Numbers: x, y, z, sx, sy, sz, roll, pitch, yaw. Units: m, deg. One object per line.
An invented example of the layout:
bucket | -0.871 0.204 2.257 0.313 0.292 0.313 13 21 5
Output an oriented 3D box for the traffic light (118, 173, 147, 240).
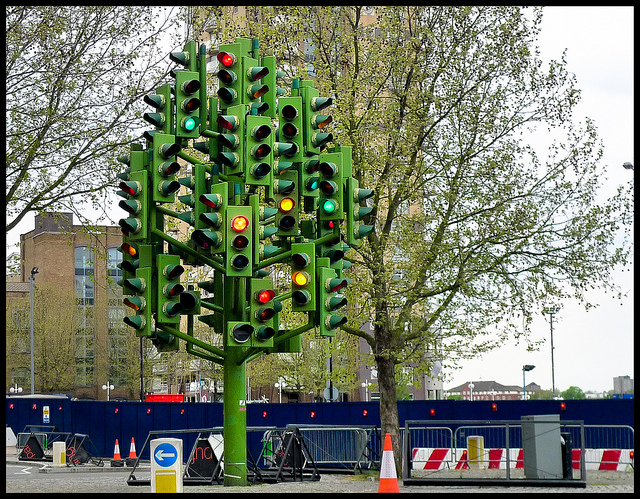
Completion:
traffic light | -4.523 -0.996 35.361 0.523 1.832 0.634 -2 -7 35

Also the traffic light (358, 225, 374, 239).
traffic light | 1.157 -0.435 35.878 0.383 0.302 0.236 -22 -21 40

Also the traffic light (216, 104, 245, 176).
traffic light | -2.099 -2.681 35.271 0.753 1.771 0.490 3 -12 -24

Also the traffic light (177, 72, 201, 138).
traffic light | -3.168 -3.507 35.358 0.548 1.612 0.810 -1 8 -17

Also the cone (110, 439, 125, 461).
cone | -6.981 7.040 50.359 0.546 0.753 0.554 1 -10 -5

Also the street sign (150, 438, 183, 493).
street sign | -3.536 5.057 33.849 0.715 1.279 0.600 0 -11 -7

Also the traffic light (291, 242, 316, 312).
traffic light | -0.374 0.671 34.640 0.538 1.611 0.280 -2 -11 -1

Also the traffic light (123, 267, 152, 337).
traffic light | -4.326 1.240 34.848 0.675 1.677 0.625 0 -11 -8

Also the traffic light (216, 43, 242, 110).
traffic light | -2.184 -4.296 35.607 0.582 1.729 0.588 -2 -11 1

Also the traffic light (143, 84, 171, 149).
traffic light | -3.944 -3.171 35.701 0.634 1.697 0.560 0 0 -28

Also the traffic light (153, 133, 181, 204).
traffic light | -3.681 -1.986 35.258 0.678 1.658 0.782 -1 -11 -6

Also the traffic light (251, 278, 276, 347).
traffic light | -1.290 1.501 34.254 0.551 1.597 0.499 -3 5 -14

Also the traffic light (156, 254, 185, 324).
traffic light | -3.557 0.941 34.738 0.631 1.637 0.675 -1 -11 -5

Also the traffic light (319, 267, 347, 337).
traffic light | 0.327 1.233 34.854 0.651 1.679 0.733 -2 -11 0

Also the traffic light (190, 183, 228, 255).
traffic light | -2.544 -0.729 34.478 0.761 1.670 0.662 -1 -11 -6

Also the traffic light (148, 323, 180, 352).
traffic light | -3.795 2.172 35.888 0.676 0.684 1.377 0 -12 -7

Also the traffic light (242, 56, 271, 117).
traffic light | -1.561 -3.996 35.765 0.502 1.593 0.597 -1 -1 44

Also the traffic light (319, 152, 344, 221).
traffic light | 0.299 -1.580 35.415 0.599 1.690 0.477 -2 -11 1

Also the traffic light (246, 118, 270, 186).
traffic light | -1.470 -2.360 35.036 0.577 1.590 0.445 -1 -11 -4

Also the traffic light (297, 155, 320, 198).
traffic light | -0.256 -1.820 36.018 0.528 1.137 0.822 -1 -11 -2

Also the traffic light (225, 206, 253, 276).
traffic light | -1.869 -0.206 34.350 0.595 1.618 0.499 -2 3 -7

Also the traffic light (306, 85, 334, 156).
traffic light | -0.009 -3.170 36.110 0.624 1.630 0.593 0 3 13
